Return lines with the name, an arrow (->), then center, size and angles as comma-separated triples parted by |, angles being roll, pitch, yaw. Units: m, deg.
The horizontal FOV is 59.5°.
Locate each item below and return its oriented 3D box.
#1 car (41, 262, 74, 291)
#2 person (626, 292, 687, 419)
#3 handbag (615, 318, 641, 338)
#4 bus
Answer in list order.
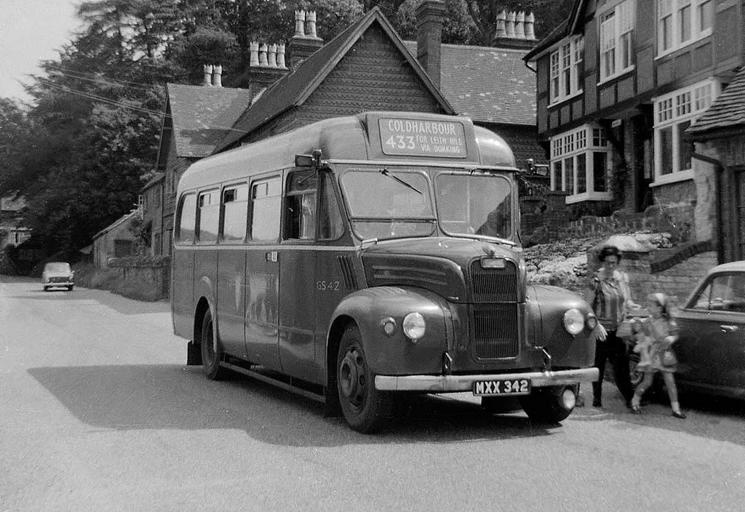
car -> -22.914, 1.450, 47.899 | 1.450, 1.471, 3.000 | 0, -3, -23
person -> 4.157, 1.436, 9.565 | 0.729, 1.762, 0.326 | 0, -1, 27
handbag -> 3.806, 1.085, 9.737 | 0.292, 0.093, 0.327 | -11, 5, 22
bus -> -1.188, 0.115, 11.056 | 9.601, 4.406, 2.993 | -1, -1, 43
